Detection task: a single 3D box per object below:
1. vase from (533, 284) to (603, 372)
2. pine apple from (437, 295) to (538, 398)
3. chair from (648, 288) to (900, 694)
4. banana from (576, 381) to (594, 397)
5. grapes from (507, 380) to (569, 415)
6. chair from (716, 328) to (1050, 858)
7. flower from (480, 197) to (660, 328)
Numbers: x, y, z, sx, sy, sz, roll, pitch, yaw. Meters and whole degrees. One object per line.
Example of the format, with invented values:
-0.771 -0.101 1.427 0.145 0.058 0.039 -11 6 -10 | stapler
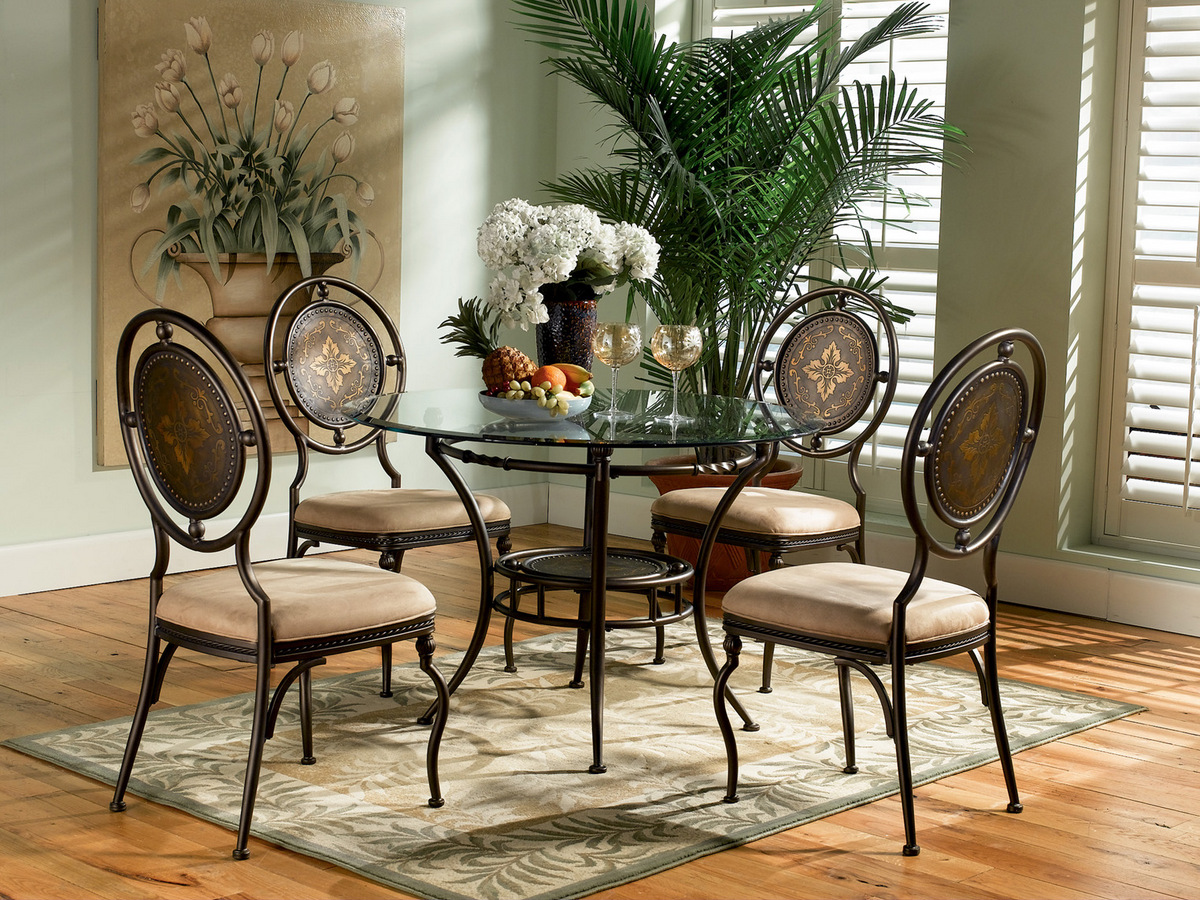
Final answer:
-0.090 -0.331 2.791 0.157 0.221 0.154 -10 19 -42 | vase
-0.280 -0.265 2.656 0.140 0.263 0.164 -32 7 -15 | pine apple
0.580 0.080 3.410 0.675 1.196 0.646 7 -3 -26 | chair
-0.044 -0.160 2.633 0.035 0.017 0.046 -7 9 14 | banana
-0.149 -0.140 2.505 0.138 0.080 0.061 16 54 9 | grapes
0.699 0.264 2.301 0.777 1.093 0.516 -3 8 -30 | chair
-0.040 -0.483 2.746 0.446 0.293 0.446 1 10 34 | flower
